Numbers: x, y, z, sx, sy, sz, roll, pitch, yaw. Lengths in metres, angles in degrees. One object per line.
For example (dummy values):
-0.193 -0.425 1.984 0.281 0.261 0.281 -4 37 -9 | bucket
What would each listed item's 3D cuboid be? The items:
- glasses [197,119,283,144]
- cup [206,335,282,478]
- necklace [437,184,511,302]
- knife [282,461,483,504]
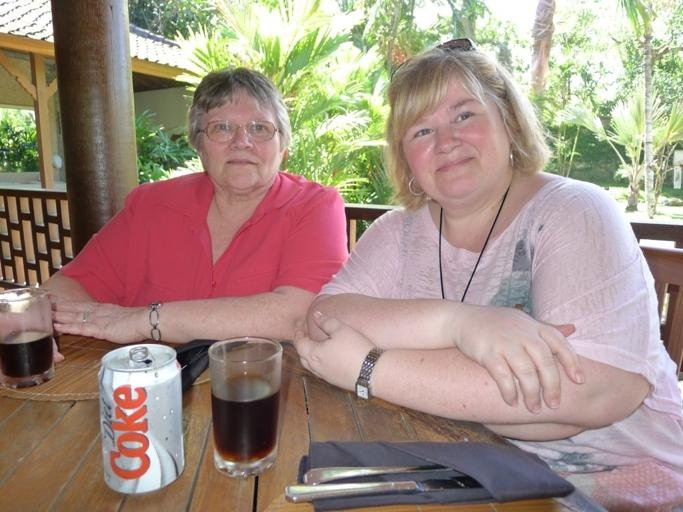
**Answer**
-0.432 -0.516 2.221 0.259 0.103 0.192 0 7 -4 | glasses
-0.203 0.322 1.121 0.151 0.264 0.137 -1 9 -14 | cup
0.432 -0.072 1.847 0.226 0.411 0.242 7 14 35 | necklace
0.081 0.440 1.007 0.371 0.034 0.060 1 8 -6 | knife
